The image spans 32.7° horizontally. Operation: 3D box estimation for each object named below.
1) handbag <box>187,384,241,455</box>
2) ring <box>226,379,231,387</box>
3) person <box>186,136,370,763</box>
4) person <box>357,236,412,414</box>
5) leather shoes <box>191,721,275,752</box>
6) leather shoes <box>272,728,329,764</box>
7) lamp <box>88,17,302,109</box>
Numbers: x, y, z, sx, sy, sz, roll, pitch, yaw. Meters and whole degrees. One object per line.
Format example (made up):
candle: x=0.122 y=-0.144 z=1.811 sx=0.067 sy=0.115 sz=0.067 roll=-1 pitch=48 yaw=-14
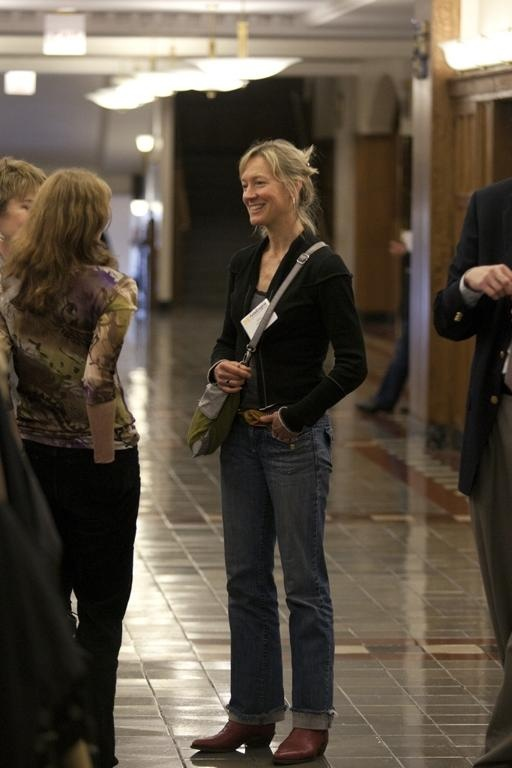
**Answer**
handbag: x=-0.127 y=0.102 z=2.418 sx=0.087 sy=0.259 sz=0.117 roll=-13 pitch=38 yaw=-38
ring: x=-0.077 y=-0.006 z=2.342 sx=0.014 sy=0.016 sz=0.005 roll=-1 pitch=3 yaw=11
person: x=0.048 y=0.169 z=2.412 sx=0.474 sy=1.691 sz=0.412 roll=5 pitch=7 yaw=17
person: x=1.527 y=-0.775 z=10.419 sx=0.737 sy=0.661 sz=2.877 roll=1 pitch=40 yaw=9
leather shoes: x=-0.056 y=0.973 z=2.471 sx=0.246 sy=0.088 sz=0.081 roll=3 pitch=-5 yaw=-17
leather shoes: x=0.119 y=0.957 z=2.333 sx=0.065 sy=0.070 sz=0.176 roll=-6 pitch=-12 yaw=32
lamp: x=-0.925 y=-3.874 z=10.337 sx=2.517 sy=0.872 sz=1.016 roll=7 pitch=8 yaw=41
